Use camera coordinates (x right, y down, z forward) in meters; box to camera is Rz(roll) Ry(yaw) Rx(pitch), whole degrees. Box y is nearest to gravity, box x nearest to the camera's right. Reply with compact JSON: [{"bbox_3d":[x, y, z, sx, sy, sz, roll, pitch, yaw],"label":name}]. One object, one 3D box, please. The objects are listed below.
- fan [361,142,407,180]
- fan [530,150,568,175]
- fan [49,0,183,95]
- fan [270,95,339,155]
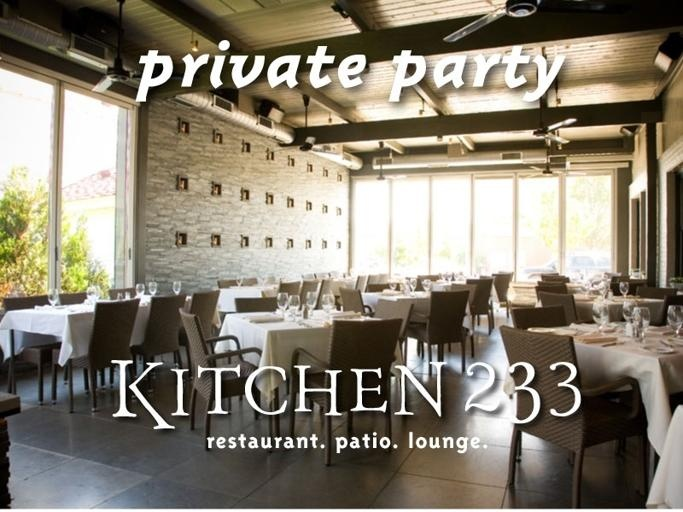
[{"bbox_3d":[1.227,-2.715,13.821,1.257,0.293,1.193,-2,25,7],"label":"fan"},{"bbox_3d":[4.719,-2.136,11.545,0.904,0.610,0.919,5,11,32],"label":"fan"},{"bbox_3d":[-2.908,-2.686,6.484,1.223,1.110,1.249,5,3,13],"label":"fan"},{"bbox_3d":[-0.733,-2.606,10.432,1.151,1.222,1.070,3,-1,-8],"label":"fan"}]
